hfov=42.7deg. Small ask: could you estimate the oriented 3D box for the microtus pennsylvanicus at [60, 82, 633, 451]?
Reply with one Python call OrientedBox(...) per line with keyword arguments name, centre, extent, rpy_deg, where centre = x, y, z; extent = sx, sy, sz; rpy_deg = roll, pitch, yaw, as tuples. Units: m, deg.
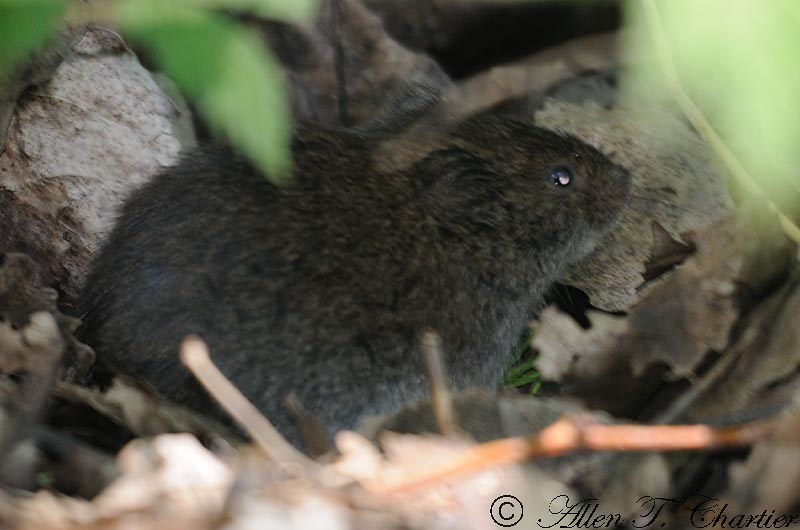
OrientedBox(name="microtus pennsylvanicus", centre=(-0.097, -0.058, 1.999), extent=(0.949, 0.499, 0.512), rpy_deg=(-8, 19, -8))
